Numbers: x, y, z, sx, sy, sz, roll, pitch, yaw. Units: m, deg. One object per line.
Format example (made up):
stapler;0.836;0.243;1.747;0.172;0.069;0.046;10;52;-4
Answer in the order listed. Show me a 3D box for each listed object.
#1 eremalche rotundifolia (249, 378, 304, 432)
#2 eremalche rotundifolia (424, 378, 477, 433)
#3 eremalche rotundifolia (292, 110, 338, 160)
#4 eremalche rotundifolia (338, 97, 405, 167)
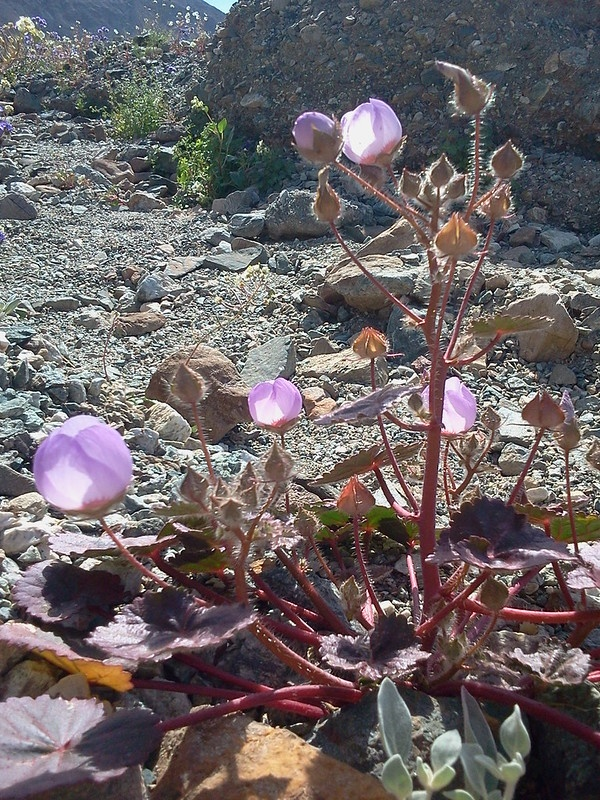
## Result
eremalche rotundifolia;-0.054;0.014;1.568;0.089;0.142;0.088;13;22;28
eremalche rotundifolia;0.375;0.026;1.725;0.073;0.164;0.162;6;19;11
eremalche rotundifolia;0.028;-0.503;1.383;0.083;0.091;0.091;-7;19;-1
eremalche rotundifolia;0.148;-0.541;1.474;0.129;0.128;0.128;2;19;1
